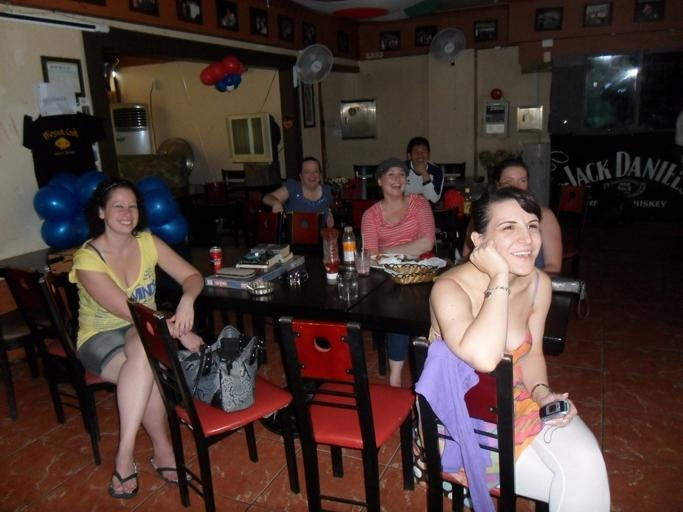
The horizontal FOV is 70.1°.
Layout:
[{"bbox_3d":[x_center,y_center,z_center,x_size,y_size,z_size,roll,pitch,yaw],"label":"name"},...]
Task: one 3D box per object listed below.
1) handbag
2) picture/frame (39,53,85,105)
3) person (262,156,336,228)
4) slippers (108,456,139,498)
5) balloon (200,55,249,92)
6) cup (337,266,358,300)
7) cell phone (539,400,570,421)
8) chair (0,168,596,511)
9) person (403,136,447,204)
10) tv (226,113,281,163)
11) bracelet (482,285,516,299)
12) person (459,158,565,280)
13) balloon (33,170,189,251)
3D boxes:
[{"bbox_3d":[-0.670,0.596,2.651,0.430,0.435,0.382,7,6,44],"label":"handbag"},{"bbox_3d":[-2.764,-1.724,4.766,0.038,0.543,0.527,4,10,30],"label":"picture/frame"},{"bbox_3d":[-0.403,-0.653,5.205,0.832,0.751,0.505,0,18,-25],"label":"person"},{"bbox_3d":[-1.272,1.283,2.860,0.152,0.078,0.333,9,13,-21],"label":"slippers"},{"bbox_3d":[-1.595,-2.468,6.634,0.564,0.428,0.205,-15,33,11],"label":"balloon"},{"bbox_3d":[0.055,0.176,3.026,0.124,0.141,0.193,1,12,12],"label":"cup"},{"bbox_3d":[0.881,0.647,2.042,0.125,0.040,0.065,-40,20,45],"label":"cell phone"},{"bbox_3d":[-0.424,0.532,2.948,1.873,0.969,1.232,3,26,18],"label":"chair"},{"bbox_3d":[0.898,-0.901,5.725,0.583,0.901,0.527,4,6,24],"label":"person"},{"bbox_3d":[-1.290,-1.700,7.102,0.622,0.648,0.615,-2,13,3],"label":"tv"},{"bbox_3d":[0.653,0.142,2.018,0.125,0.049,0.064,-6,16,-12],"label":"bracelet"},{"bbox_3d":[1.234,-0.152,3.433,0.657,1.015,0.595,-9,6,10],"label":"person"},{"bbox_3d":[-2.039,-0.427,4.211,0.939,0.393,0.940,-21,12,-26],"label":"balloon"}]
